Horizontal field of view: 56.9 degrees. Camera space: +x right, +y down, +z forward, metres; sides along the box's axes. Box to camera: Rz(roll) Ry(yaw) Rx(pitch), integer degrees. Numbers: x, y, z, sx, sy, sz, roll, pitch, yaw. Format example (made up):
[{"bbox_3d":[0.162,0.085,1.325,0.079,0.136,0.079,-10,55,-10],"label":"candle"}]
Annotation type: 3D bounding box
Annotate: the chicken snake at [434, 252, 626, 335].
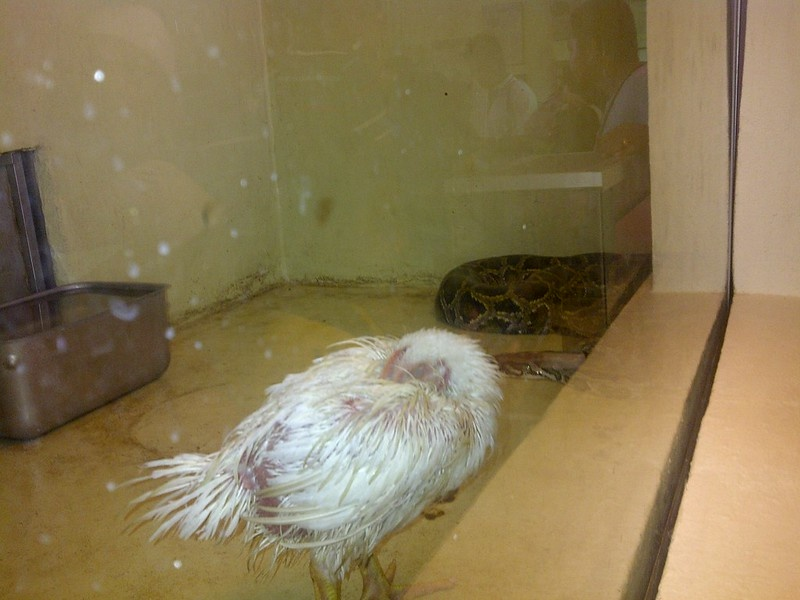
[{"bbox_3d":[0.249,-0.009,1.503,0.245,0.084,0.208,-5,11,-9],"label":"chicken snake"}]
